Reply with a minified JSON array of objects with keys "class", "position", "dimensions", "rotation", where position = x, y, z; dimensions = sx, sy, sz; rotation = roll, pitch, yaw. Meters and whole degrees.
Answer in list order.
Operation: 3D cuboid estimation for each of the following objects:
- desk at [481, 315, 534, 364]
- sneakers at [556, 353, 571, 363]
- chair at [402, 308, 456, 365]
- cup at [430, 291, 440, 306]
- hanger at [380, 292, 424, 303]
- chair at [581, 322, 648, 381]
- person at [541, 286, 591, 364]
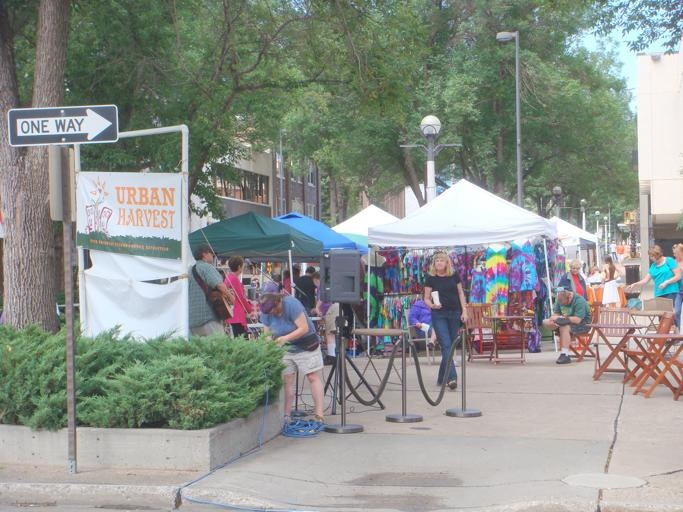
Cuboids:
[{"class":"desk","position":[3.878,1.944,36.177],"dimensions":[1.086,1.001,1.072],"rotation":[0,-2,5]},{"class":"sneakers","position":[4.787,2.270,34.265],"dimensions":[0.148,0.148,0.351],"rotation":[-4,-7,30]},{"class":"chair","position":[1.858,1.551,34.818],"dimensions":[0.926,1.588,0.895],"rotation":[-14,-9,25]},{"class":"cup","position":[1.816,0.854,30.672],"dimensions":[0.206,0.302,0.088],"rotation":[-1,-1,-2]},{"class":"hanger","position":[1.411,1.045,36.859],"dimensions":[1.033,0.362,0.300],"rotation":[-3,1,4]},{"class":"chair","position":[5.545,1.929,32.269],"dimensions":[1.338,1.308,1.340],"rotation":[0,-4,5]},{"class":"person","position":[4.888,1.543,34.118],"dimensions":[0.983,1.643,1.008],"rotation":[-2,-1,20]}]
